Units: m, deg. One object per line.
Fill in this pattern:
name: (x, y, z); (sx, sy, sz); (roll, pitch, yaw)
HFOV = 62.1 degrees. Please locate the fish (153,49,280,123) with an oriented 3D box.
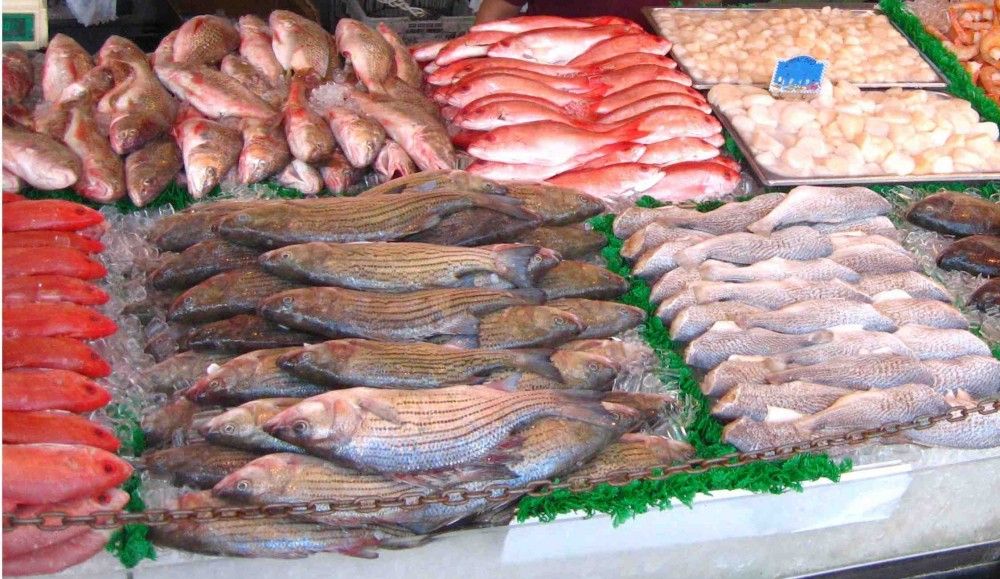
fish: (-1.398, -1.028, 4.329); (0.646, 0.162, 0.960); (12, -9, -19)

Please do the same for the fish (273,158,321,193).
fish: (-0.992, -0.565, 4.100); (0.167, 0.068, 0.199); (-43, 73, -15)

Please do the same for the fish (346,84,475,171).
fish: (-0.444, -0.817, 4.194); (0.380, 0.130, 0.587); (-4, 37, -25)

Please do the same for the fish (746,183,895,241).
fish: (1.564, -0.389, 4.067); (0.871, 0.181, 0.231); (-7, 5, -13)

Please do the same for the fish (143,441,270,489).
fish: (-1.191, 0.677, 3.360); (0.615, 0.188, 0.165); (4, 9, 1)

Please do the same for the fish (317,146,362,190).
fish: (-0.817, -0.576, 4.153); (0.226, 0.223, 0.066); (-20, 67, -16)

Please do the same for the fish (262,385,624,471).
fish: (-0.112, 0.540, 3.317); (1.571, 0.338, 0.381); (-3, 46, -4)

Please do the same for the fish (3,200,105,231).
fish: (-1.997, -0.334, 3.690); (0.480, 0.086, 0.137); (3, 53, -18)

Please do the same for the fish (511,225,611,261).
fish: (0.316, -0.229, 3.878); (0.368, 0.095, 0.173); (0, 3, -21)

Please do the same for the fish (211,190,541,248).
fish: (-0.521, -0.310, 3.667); (0.949, 0.115, 0.240); (-3, 23, -2)

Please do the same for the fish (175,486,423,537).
fish: (-0.765, 0.838, 3.164); (0.954, 0.210, 0.258); (0, 20, -1)

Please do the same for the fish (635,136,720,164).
fish: (0.923, -0.719, 4.327); (0.541, 0.150, 0.139); (-3, -4, -7)

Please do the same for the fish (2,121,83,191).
fish: (-2.152, -0.619, 3.890); (0.440, 0.133, 0.218); (32, 55, 8)

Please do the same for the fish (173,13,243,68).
fish: (-1.645, -1.302, 4.460); (0.388, 0.120, 0.447); (-14, -7, -22)

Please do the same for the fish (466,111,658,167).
fish: (0.318, -0.765, 4.284); (0.914, 0.226, 0.196); (2, 7, 23)

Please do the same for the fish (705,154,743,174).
fish: (1.176, -0.664, 4.316); (0.164, 0.043, 0.122); (14, 8, -47)

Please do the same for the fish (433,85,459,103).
fish: (-0.280, -1.068, 4.532); (0.162, 0.051, 0.146); (-1, 8, 14)

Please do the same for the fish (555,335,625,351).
fish: (0.379, 0.226, 3.548); (0.232, 0.019, 0.076); (-1, 17, -9)

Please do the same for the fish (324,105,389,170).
fish: (-0.679, -0.755, 4.109); (0.304, 0.124, 0.409); (-10, 53, -13)

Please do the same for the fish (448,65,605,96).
fish: (0.134, -1.138, 4.518); (0.655, 0.054, 0.197); (4, 27, -6)

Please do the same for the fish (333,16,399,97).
fish: (-0.716, -1.265, 4.375); (0.310, 0.093, 0.452); (-29, 73, -28)

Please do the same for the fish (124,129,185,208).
fish: (-1.667, -0.589, 4.003); (0.257, 0.081, 0.350); (30, 59, 1)

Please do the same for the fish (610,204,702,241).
fish: (0.759, -0.328, 3.977); (0.360, 0.076, 0.177); (0, 28, 2)

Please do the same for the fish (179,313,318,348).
fish: (-1.030, 0.167, 3.484); (0.416, 0.083, 0.139); (1, 27, 1)

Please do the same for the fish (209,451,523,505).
fish: (-0.618, 0.713, 3.155); (1.099, 0.168, 0.159); (-10, -6, 27)

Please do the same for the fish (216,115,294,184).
fish: (-1.171, -0.680, 4.045); (0.336, 0.065, 0.340); (32, 46, 24)

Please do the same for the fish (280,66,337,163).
fish: (-0.972, -0.900, 4.229); (0.272, 0.157, 0.641); (-1, 54, -16)

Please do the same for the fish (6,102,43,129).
fish: (-2.343, -0.860, 4.130); (0.170, 0.036, 0.161); (-32, 59, -32)

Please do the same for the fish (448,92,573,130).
fish: (0.146, -0.935, 4.343); (0.630, 0.175, 0.117); (7, 3, 36)

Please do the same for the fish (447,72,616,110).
fish: (0.165, -1.070, 4.475); (0.903, 0.157, 0.229); (2, 57, -1)

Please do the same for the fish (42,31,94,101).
fish: (-2.259, -1.177, 4.345); (0.289, 0.129, 0.436); (-19, -3, -21)

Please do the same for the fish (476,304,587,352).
fish: (0.149, 0.144, 3.548); (0.551, 0.103, 0.271); (-7, 35, -16)

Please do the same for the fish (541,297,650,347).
fish: (0.403, 0.117, 3.666); (0.519, 0.086, 0.217); (0, 42, -24)

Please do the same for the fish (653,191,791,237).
fish: (1.069, -0.361, 3.990); (0.699, 0.214, 0.141); (-10, -5, -6)

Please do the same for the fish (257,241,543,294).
fish: (-0.448, -0.110, 3.522); (1.287, 0.200, 0.319); (2, -18, -4)

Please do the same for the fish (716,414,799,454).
fish: (1.070, 0.584, 3.369); (0.219, 0.124, 0.228); (-16, 25, -39)

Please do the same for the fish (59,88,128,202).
fish: (-1.941, -0.686, 3.993); (0.346, 0.126, 0.518); (-5, 63, -29)

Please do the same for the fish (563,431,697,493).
fish: (0.461, 0.648, 3.359); (0.265, 0.257, 0.824); (3, -4, 44)

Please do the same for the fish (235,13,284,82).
fish: (-1.318, -1.341, 4.512); (0.449, 0.309, 0.109); (31, 43, 34)

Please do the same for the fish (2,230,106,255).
fish: (-1.964, -0.210, 3.629); (0.404, 0.058, 0.087); (5, 49, -20)

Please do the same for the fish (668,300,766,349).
fish: (0.971, 0.108, 3.702); (0.505, 0.164, 0.116); (-6, -17, -23)

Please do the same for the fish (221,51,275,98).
fish: (-1.308, -1.123, 4.362); (0.328, 0.102, 0.193); (36, 41, -1)

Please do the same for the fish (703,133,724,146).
fish: (1.162, -0.815, 4.477); (0.107, 0.026, 0.092); (-14, 31, -27)

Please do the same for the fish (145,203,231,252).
fish: (-1.380, -0.287, 3.804); (0.364, 0.091, 0.213); (-22, 37, -27)

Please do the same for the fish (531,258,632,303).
fish: (0.380, -0.039, 3.747); (0.371, 0.088, 0.181); (3, 2, -13)

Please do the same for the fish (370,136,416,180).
fish: (-0.526, -0.640, 4.132); (0.184, 0.094, 0.229); (-22, 69, -7)

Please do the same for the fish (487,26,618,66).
fish: (0.362, -1.425, 4.812); (0.979, 0.226, 0.141); (-16, 29, -29)
